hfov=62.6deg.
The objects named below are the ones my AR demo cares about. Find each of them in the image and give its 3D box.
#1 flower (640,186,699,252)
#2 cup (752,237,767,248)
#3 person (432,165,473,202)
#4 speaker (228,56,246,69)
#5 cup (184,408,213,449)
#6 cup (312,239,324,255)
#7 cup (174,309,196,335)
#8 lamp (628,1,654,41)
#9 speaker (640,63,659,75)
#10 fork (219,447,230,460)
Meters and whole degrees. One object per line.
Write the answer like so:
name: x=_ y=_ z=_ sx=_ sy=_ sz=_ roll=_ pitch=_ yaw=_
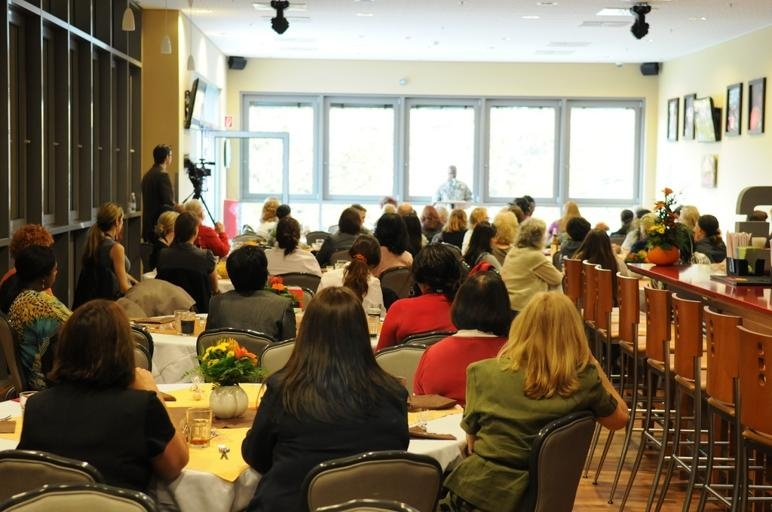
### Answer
flower: x=2.485 y=-0.229 z=5.584 sx=0.365 sy=0.679 sz=0.374 roll=0 pitch=-13 yaw=9
cup: x=2.849 y=-0.085 z=4.843 sx=0.096 sy=0.075 sz=0.101 roll=-1 pitch=0 yaw=0
person: x=1.444 y=-1.414 z=13.753 sx=0.810 sy=0.922 sz=0.469 roll=-1 pitch=-27 yaw=6
speaker: x=-3.188 y=-4.074 z=13.537 sx=0.269 sy=0.272 sz=0.278 roll=4 pitch=-47 yaw=-35
cup: x=-0.864 y=0.791 z=2.896 sx=0.139 sy=0.172 sz=0.138 roll=-4 pitch=-19 yaw=-2
cup: x=-0.944 y=-0.113 z=8.775 sx=0.145 sy=0.156 sz=0.269 roll=2 pitch=-2 yaw=-13
cup: x=-1.438 y=0.472 z=4.511 sx=0.151 sy=0.179 sz=0.149 roll=1 pitch=0 yaw=0
lamp: x=3.804 y=-3.422 z=9.499 sx=0.290 sy=0.518 sz=0.869 roll=4 pitch=6 yaw=22
speaker: x=5.663 y=-3.975 z=13.649 sx=0.332 sy=0.268 sz=0.303 roll=0 pitch=-13 yaw=31
fork: x=-0.709 y=0.859 z=2.775 sx=0.039 sy=0.053 sz=0.044 roll=1 pitch=-11 yaw=-2
